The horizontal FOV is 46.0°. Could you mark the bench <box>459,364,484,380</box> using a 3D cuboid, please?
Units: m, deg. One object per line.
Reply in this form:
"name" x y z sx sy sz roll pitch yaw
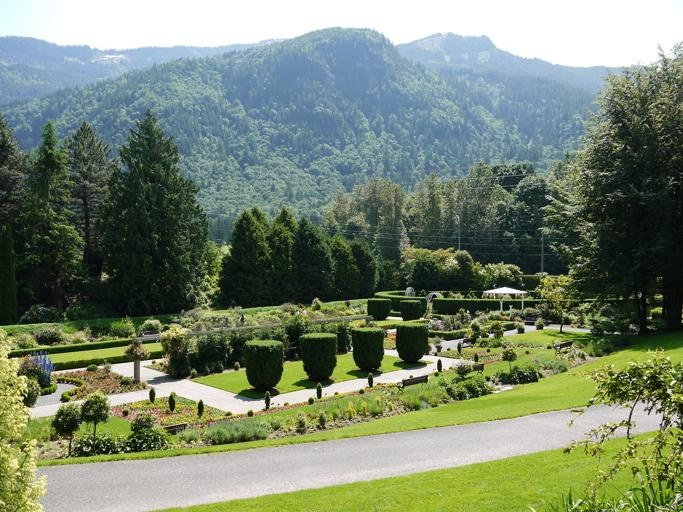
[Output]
"bench" 7.927 7.108 49.678 0.718 0.938 2.049 -6 -5 38
